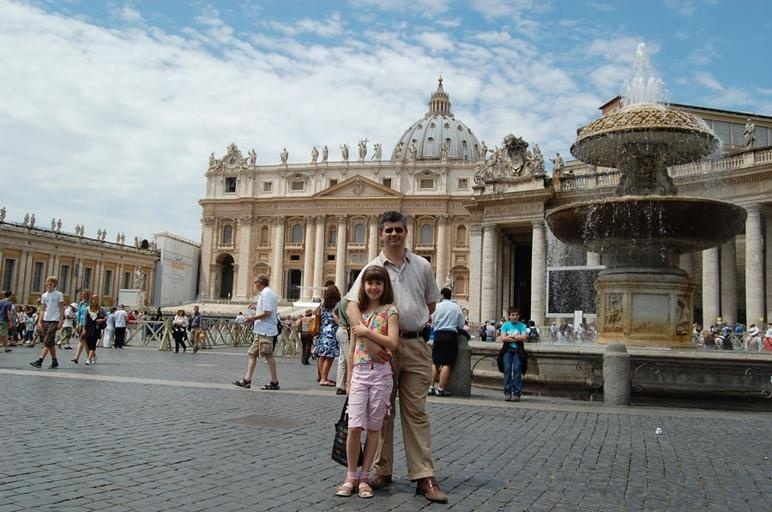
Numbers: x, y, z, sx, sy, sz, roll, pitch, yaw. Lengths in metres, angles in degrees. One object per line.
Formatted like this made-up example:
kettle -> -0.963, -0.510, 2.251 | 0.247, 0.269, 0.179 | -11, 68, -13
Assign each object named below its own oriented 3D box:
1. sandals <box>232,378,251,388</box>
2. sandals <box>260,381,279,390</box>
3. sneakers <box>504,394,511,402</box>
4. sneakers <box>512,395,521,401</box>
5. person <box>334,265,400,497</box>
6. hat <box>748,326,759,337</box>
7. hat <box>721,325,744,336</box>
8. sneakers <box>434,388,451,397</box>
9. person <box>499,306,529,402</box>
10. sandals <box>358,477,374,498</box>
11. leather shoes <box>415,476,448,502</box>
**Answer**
sandals -> -2.688, 2.335, 12.196 | 0.383, 0.139, 0.134 | 5, -7, 23
sandals -> -2.168, 2.387, 12.260 | 0.375, 0.134, 0.127 | 4, -8, -4
sneakers -> 2.124, 2.463, 11.573 | 0.113, 0.113, 0.285 | -3, -17, 12
sneakers -> 2.292, 2.490, 11.619 | 0.079, 0.088, 0.225 | -4, -19, 12
person -> -0.182, 1.294, 7.008 | 0.636, 2.378, 0.336 | 0, -7, 1
hat -> 14.103, 2.875, 25.417 | 0.390, 0.207, 0.494 | -3, 1, 17
hat -> 14.773, 3.130, 28.053 | 0.837, 0.378, 1.041 | 3, -1, -15
sneakers -> 1.000, 2.439, 11.864 | 0.334, 0.174, 0.112 | -1, -3, 3
person -> 2.264, 1.738, 11.808 | 0.478, 1.626, 0.809 | -1, -6, 11
sandals -> -0.206, 2.387, 6.852 | 0.155, 0.179, 0.151 | 0, -6, -1
leather shoes -> 0.467, 2.388, 6.828 | 0.367, 0.236, 0.208 | -1, -6, 15
